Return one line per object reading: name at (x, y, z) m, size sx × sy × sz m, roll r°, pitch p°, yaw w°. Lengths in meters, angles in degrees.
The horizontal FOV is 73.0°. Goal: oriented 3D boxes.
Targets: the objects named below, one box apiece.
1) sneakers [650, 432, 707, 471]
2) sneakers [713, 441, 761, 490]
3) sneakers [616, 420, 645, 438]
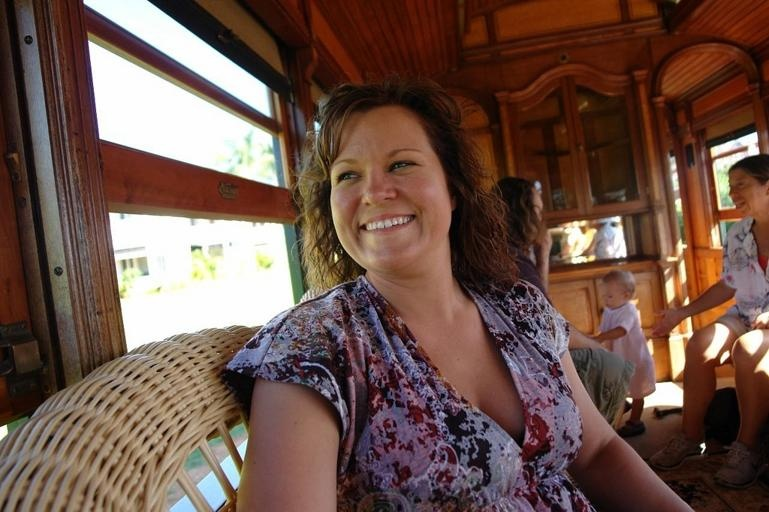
sneakers at (1.709, 1.120, 3.122) m, size 0.383 × 0.179 × 0.133 m, roll -13°, pitch 5°, yaw -19°
sneakers at (1.869, 1.105, 2.801) m, size 0.337 × 0.164 × 0.121 m, roll -14°, pitch -1°, yaw -43°
sneakers at (1.658, 1.177, 3.563) m, size 0.229 × 0.100 × 0.086 m, roll -1°, pitch -4°, yaw -14°
